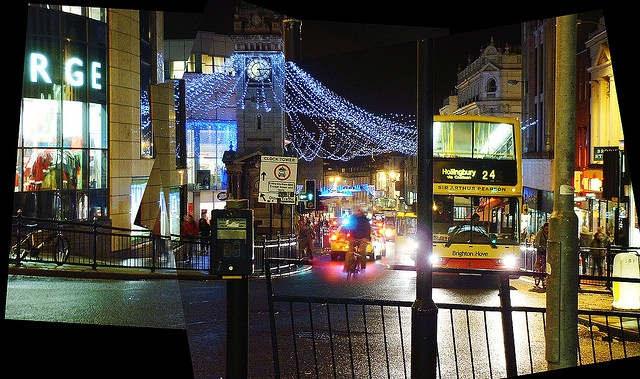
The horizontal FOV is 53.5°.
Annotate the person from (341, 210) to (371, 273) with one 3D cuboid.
[{"bbox_3d":[1.454,2.029,25.045,0.910,2.510,1.275,2,-3,0],"label":"person"}]

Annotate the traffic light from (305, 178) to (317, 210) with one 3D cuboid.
[{"bbox_3d":[-0.469,0.188,30.157,0.498,1.336,0.739,3,-3,-3],"label":"traffic light"}]

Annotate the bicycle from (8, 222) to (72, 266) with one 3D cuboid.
[{"bbox_3d":[-8.431,1.603,19.182,1.048,1.308,2.250,5,-4,43],"label":"bicycle"}]

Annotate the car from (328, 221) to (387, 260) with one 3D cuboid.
[{"bbox_3d":[1.960,2.774,34.200,1.631,1.104,3.501,0,1,13],"label":"car"}]
